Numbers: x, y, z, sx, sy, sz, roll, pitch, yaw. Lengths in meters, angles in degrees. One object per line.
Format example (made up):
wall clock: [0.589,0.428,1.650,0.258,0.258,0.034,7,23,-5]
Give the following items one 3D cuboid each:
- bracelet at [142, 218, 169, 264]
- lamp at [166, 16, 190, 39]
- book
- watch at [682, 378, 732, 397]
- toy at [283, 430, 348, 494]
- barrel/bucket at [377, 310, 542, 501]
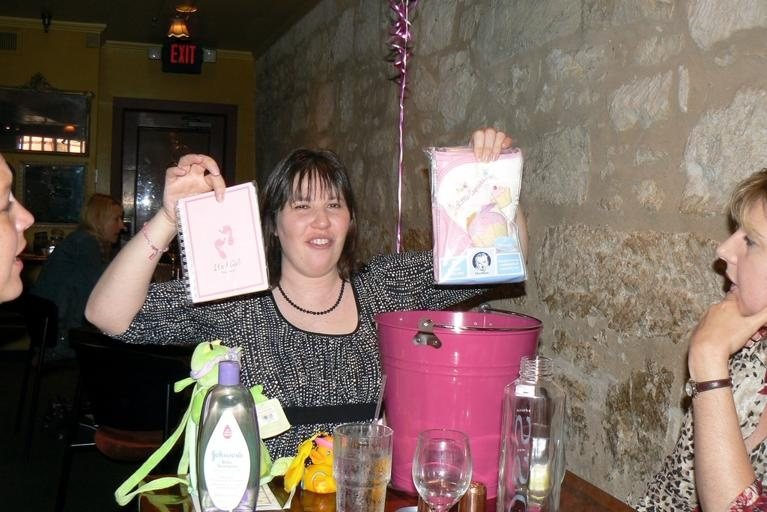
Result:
bracelet: [-0.622,-0.041,1.572,0.085,0.115,0.029,6,6,-16]
lamp: [-1.840,-2.032,5.236,0.201,0.188,0.213,5,8,39]
book: [-0.374,-0.021,1.557,0.262,0.273,0.282,-6,-3,0]
watch: [0.813,0.329,1.444,0.069,0.039,0.065,0,-18,-10]
toy: [-0.167,0.503,1.430,0.159,0.189,0.137,9,-22,-18]
barrel/bucket: [0.185,0.335,1.547,0.397,0.436,0.434,3,5,0]
